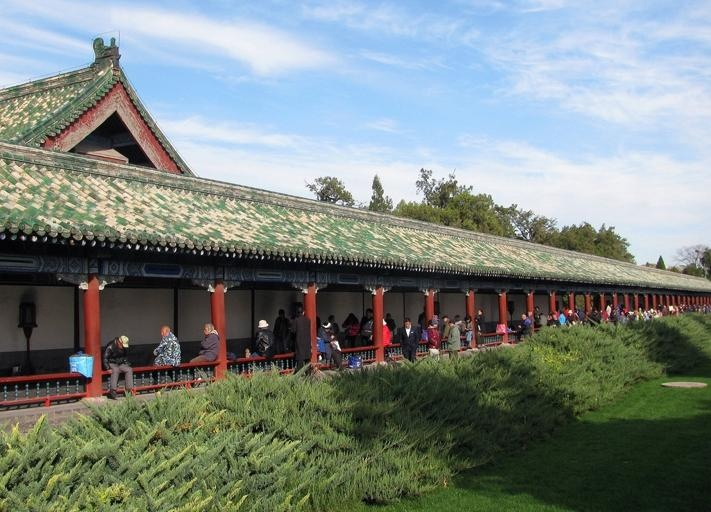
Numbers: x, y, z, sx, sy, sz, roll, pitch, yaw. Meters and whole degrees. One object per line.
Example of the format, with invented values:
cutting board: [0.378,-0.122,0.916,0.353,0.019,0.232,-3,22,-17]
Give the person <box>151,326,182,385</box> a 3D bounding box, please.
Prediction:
person: [-4.945,2.614,17.738,0.736,1.498,0.657,2,2,17]

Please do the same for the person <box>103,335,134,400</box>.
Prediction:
person: [-5.835,2.779,16.708,0.685,1.549,0.642,1,6,-19]

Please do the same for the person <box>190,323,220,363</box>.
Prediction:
person: [-3.997,2.389,18.331,0.633,1.055,0.814,2,6,-11]
